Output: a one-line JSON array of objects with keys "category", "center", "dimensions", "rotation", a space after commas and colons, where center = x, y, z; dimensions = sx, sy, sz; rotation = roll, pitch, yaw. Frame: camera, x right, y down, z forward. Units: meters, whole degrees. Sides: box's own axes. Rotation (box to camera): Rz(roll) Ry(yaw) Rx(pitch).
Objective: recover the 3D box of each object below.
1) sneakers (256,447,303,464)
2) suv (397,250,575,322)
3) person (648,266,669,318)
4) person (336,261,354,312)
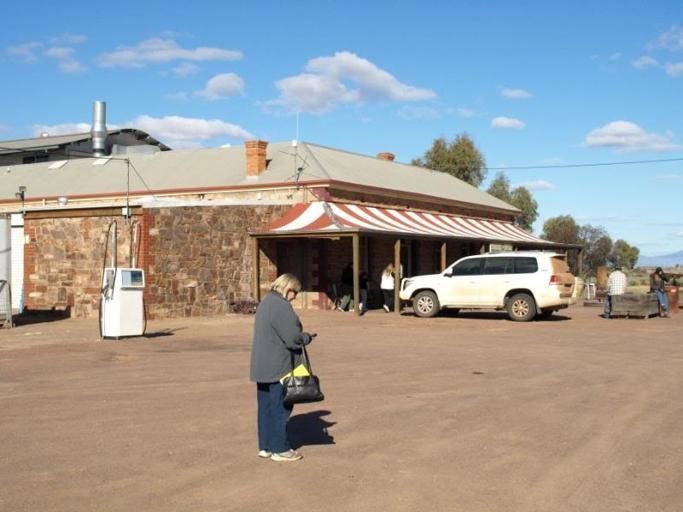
[{"category": "sneakers", "center": [-0.704, 2.188, 8.273], "dimensions": [0.409, 0.206, 0.176], "rotation": [-3, 4, -5]}, {"category": "suv", "center": [4.661, 0.716, 23.236], "dimensions": [4.530, 2.058, 2.221], "rotation": [2, 0, 24]}, {"category": "person", "center": [10.589, 1.158, 24.553], "dimensions": [0.522, 1.639, 0.941], "rotation": [-2, -3, 23]}, {"category": "person", "center": [0.151, 1.132, 27.737], "dimensions": [0.574, 1.738, 1.002], "rotation": [-1, -2, 1]}]
